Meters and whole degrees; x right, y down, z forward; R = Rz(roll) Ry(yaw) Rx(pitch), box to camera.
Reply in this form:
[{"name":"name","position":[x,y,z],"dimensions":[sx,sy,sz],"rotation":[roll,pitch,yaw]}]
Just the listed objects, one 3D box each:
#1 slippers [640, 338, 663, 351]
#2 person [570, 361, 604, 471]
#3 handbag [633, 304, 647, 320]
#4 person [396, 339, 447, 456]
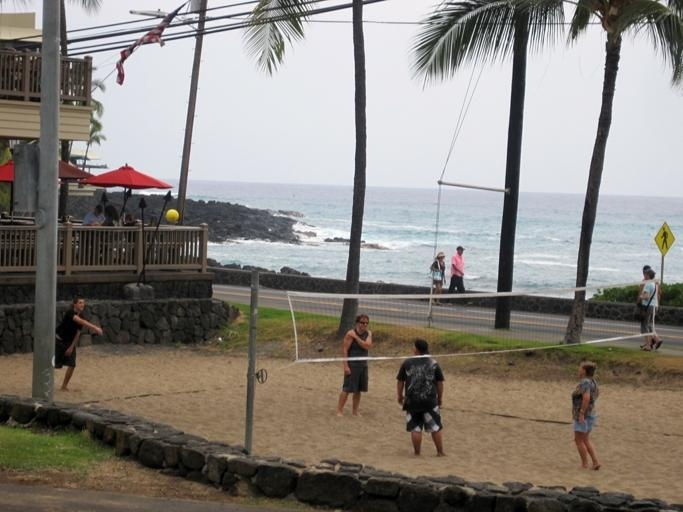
[{"name":"slippers","position":[7.961,2.283,24.717],"dimensions":[0.673,0.315,0.243],"rotation":[-26,9,-42]},{"name":"person","position":[4.509,2.901,17.618],"dimensions":[0.560,1.969,0.759],"rotation":[4,3,18]},{"name":"handbag","position":[7.672,1.435,24.652],"dimensions":[0.281,0.401,0.134],"rotation":[4,3,19]},{"name":"person","position":[1.479,2.627,17.840],"dimensions":[0.921,2.148,0.558],"rotation":[3,3,-1]}]
